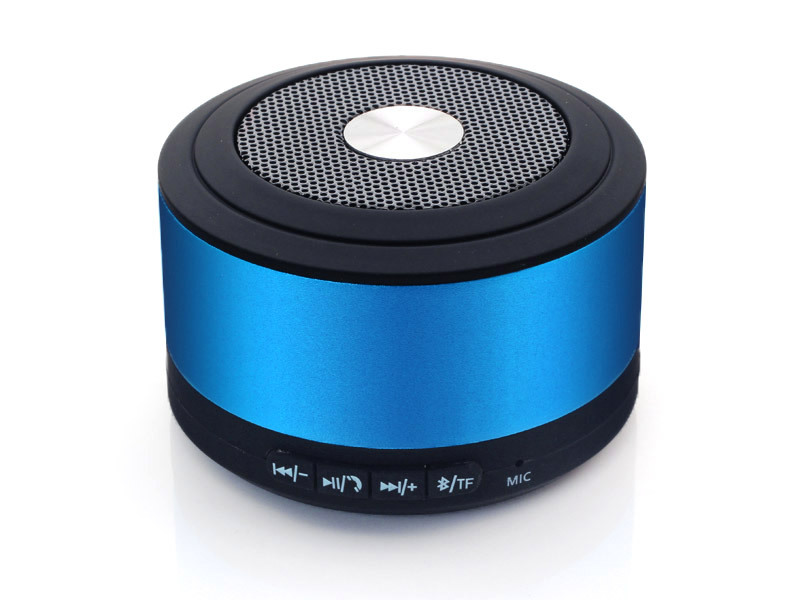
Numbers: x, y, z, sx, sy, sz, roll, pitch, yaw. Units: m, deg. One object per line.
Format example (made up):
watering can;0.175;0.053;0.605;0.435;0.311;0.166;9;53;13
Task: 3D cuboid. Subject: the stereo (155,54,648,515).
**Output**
stereo;0.014;-0.036;0.945;0.527;0.437;0.379;-11;13;-15
